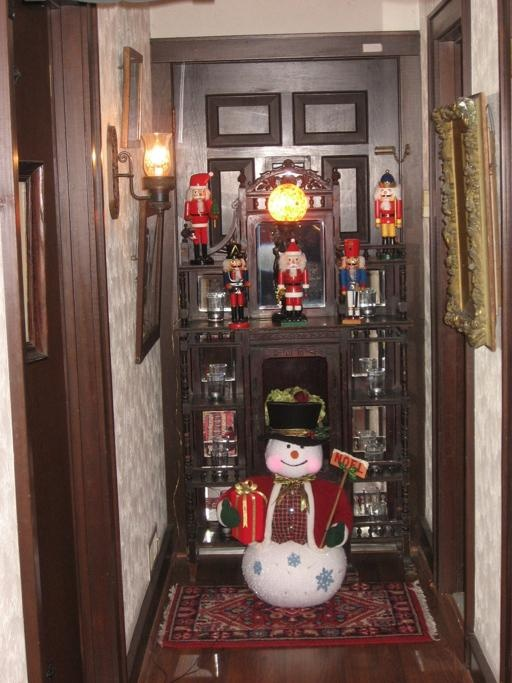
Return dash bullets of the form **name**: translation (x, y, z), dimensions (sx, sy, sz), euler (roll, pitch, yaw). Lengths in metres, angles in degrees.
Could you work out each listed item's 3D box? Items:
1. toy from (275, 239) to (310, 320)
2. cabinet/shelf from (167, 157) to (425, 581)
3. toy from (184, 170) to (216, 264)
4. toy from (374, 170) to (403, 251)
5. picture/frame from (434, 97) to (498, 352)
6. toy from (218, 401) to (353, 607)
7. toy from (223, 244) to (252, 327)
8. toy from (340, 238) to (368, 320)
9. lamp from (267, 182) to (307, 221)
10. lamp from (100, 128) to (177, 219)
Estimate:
- **toy**: translation (0.180, -0.305, 3.290), dimensions (0.162, 0.410, 0.206), euler (-3, 6, -5)
- **cabinet/shelf**: translation (0.201, 0.108, 3.562), dimensions (1.206, 2.084, 0.412), euler (-1, 5, -1)
- **toy**: translation (-0.292, -0.621, 3.357), dimensions (0.151, 0.453, 0.250), euler (-3, 6, -6)
- **toy**: translation (0.690, -0.686, 3.391), dimensions (0.145, 0.365, 0.248), euler (-1, 6, 12)
- **picture/frame**: translation (0.587, -0.313, 1.823), dimensions (0.172, 0.700, 0.270), euler (0, 7, 21)
- **toy**: translation (0.122, 0.712, 2.880), dimensions (0.590, 0.978, 0.381), euler (-1, 6, 7)
- **toy**: translation (-0.098, -0.295, 3.339), dimensions (0.126, 0.416, 0.341), euler (-2, 6, 0)
- **toy**: translation (0.498, -0.320, 3.335), dimensions (0.145, 0.396, 0.271), euler (-1, 6, 8)
- **lamp**: translation (0.156, -0.678, 3.185), dimensions (0.195, 0.170, 0.103), euler (-2, 6, -2)
- **lamp**: translation (-0.383, -0.565, 2.209), dimensions (0.222, 0.296, 0.199), euler (-4, 8, -5)
